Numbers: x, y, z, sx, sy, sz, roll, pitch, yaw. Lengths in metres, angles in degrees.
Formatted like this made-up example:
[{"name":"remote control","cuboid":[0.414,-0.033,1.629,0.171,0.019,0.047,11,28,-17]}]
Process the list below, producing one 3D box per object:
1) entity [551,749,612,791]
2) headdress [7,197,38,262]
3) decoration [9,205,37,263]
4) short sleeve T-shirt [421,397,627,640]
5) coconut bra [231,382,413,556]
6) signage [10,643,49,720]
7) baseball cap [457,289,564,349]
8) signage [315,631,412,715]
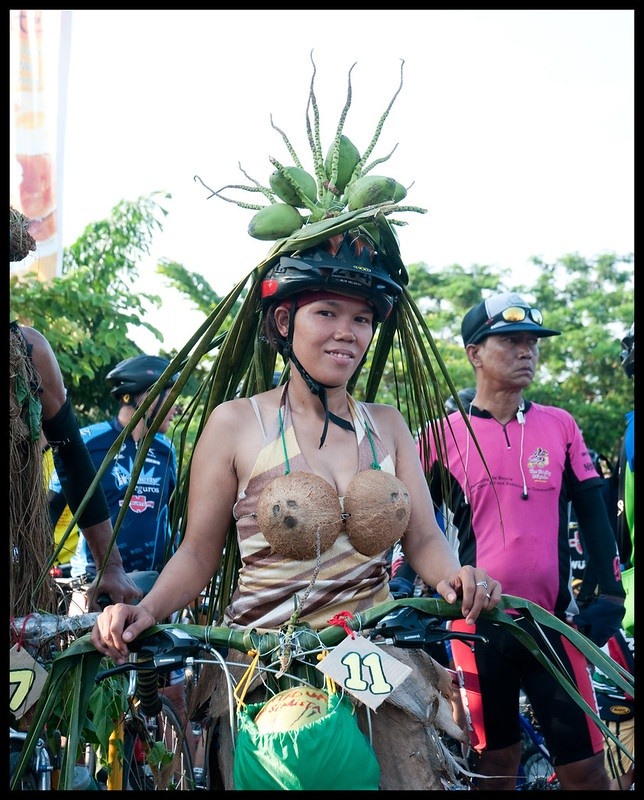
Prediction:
[{"name":"entity","cuboid":[0.933,1.344,3.023,0.181,0.151,0.269,-2,-10,15]},{"name":"headdress","cuboid":[-0.944,-0.526,2.644,0.075,0.164,0.124,-4,-6,-8]},{"name":"decoration","cuboid":[-0.947,-0.520,2.645,0.076,0.160,0.131,-2,-22,-14]},{"name":"short sleeve T-shirt","cuboid":[0.823,0.400,3.522,0.770,0.975,0.388,-2,23,27]},{"name":"coconut bra","cuboid":[0.029,0.220,2.231,0.435,0.390,0.270,7,-12,-33]},{"name":"signage","cuboid":[-0.752,0.704,2.108,0.116,0.152,0.065,-7,-12,36]},{"name":"baseball cap","cuboid":[0.823,-0.365,3.712,0.303,0.241,0.457,-3,1,-26]},{"name":"signage","cuboid":[0.076,0.568,1.764,0.179,0.018,0.197,10,18,-2]}]
